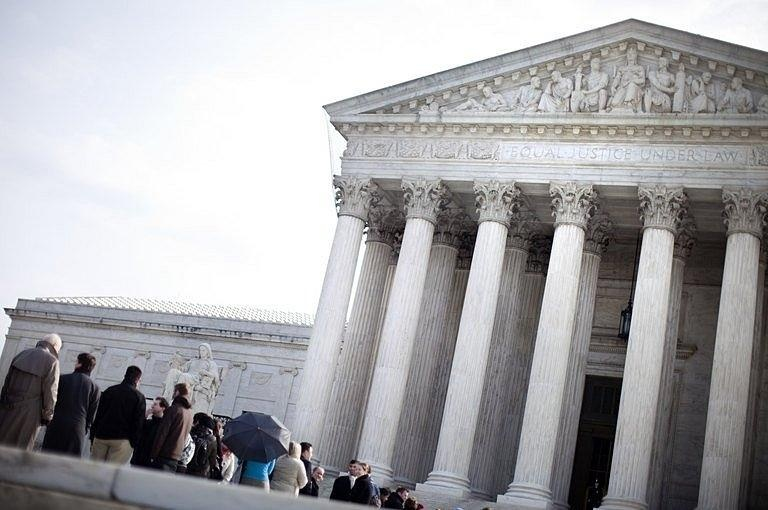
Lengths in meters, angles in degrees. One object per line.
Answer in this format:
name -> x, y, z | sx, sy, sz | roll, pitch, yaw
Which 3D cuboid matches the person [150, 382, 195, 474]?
person -> -3.934, 3.232, 12.249 | 0.585, 1.608, 0.418 | 14, -15, -21
